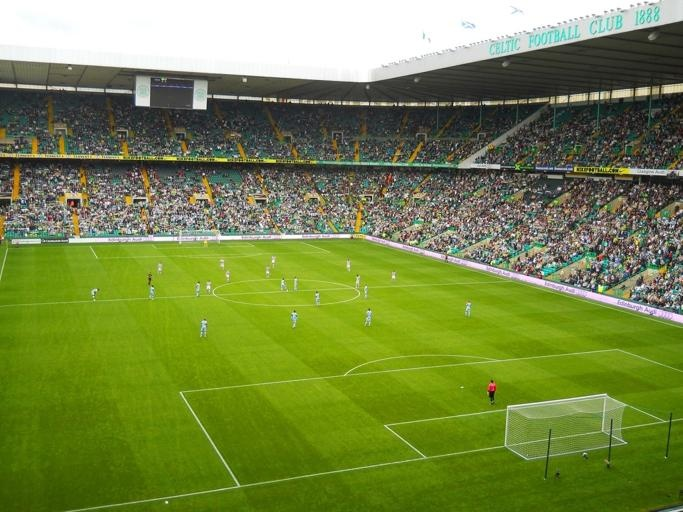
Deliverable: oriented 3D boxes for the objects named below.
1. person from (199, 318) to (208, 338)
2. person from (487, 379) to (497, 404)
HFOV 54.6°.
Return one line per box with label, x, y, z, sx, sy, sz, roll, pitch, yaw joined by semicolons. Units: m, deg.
person;-9.239;4.629;44.542;0.508;1.335;2.109;-1;14;-12
person;8.218;7.235;36.003;0.432;1.337;1.191;5;14;13
